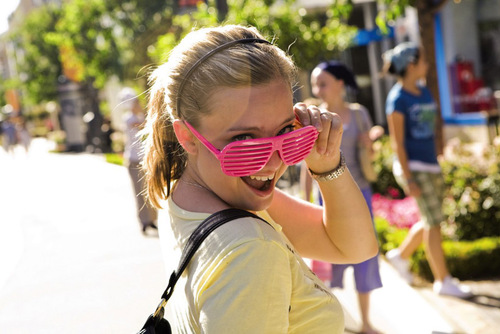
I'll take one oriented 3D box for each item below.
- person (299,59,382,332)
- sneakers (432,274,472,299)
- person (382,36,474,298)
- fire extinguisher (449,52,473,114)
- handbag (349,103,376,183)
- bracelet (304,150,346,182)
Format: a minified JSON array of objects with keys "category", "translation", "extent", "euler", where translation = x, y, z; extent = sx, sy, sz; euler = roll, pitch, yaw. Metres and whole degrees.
[{"category":"person","translation":[0.966,0.219,5.504],"extent":[0.888,2.629,0.749],"euler":[1,-1,-11]},{"category":"sneakers","translation":[2.054,1.252,5.443],"extent":[0.423,0.202,0.155],"euler":[4,-25,24]},{"category":"person","translation":[1.792,-0.017,5.699],"extent":[0.687,2.469,0.909],"euler":[-2,4,-17]},{"category":"fire extinguisher","translation":[3.347,-1.291,8.359],"extent":[0.262,0.988,0.233],"euler":[-4,33,17]},{"category":"handbag","translation":[1.170,-0.247,5.581],"extent":[0.232,0.775,0.226],"euler":[1,-2,-1]},{"category":"bracelet","translation":[0.510,-0.001,3.456],"extent":[0.166,0.079,0.195],"euler":[-15,2,-15]}]
